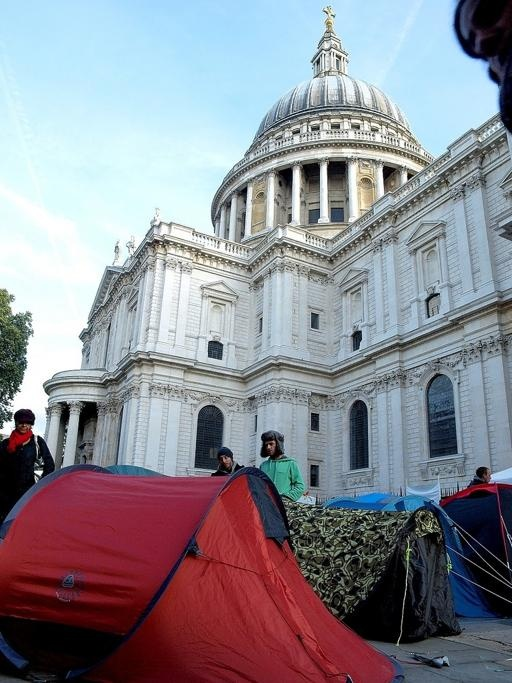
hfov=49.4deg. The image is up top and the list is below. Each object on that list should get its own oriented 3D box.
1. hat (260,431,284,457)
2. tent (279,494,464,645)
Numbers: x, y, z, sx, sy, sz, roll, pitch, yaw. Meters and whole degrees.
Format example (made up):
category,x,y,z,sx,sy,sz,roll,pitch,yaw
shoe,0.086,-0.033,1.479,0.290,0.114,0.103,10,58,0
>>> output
category,x,y,z,sx,sy,sz,roll,pitch,yaw
hat,0.262,1.587,8.598,0.322,0.432,0.589,1,-16,-1
tent,1.414,2.948,7.406,2.248,0.838,1.624,-5,-5,40
